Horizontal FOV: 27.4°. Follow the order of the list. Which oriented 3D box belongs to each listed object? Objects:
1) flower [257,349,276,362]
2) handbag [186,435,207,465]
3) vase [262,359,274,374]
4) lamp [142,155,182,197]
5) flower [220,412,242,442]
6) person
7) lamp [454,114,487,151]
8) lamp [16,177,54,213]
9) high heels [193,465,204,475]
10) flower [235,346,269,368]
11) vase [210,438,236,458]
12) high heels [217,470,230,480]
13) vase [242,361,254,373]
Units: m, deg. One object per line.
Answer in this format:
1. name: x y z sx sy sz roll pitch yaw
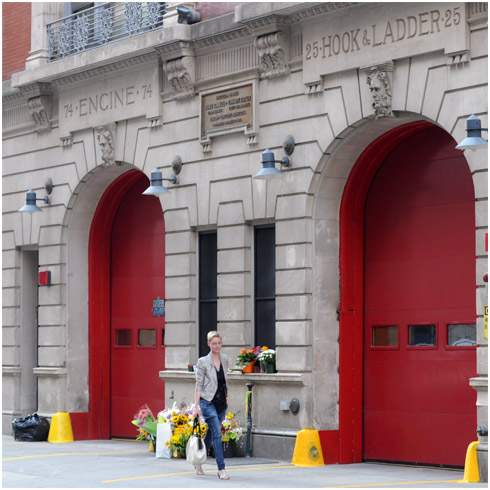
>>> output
1. flower: 0.382 2.017 18.209 0.323 0.239 0.383 -2 -8 -2
2. handbag: -0.727 3.141 15.240 0.313 0.463 0.432 1 -9 -21
3. vase: 0.427 2.233 18.175 0.214 0.213 0.330 -3 -8 1
4. lamp: -1.659 -1.353 19.917 0.855 1.091 0.605 6 -6 -44
5. flower: -0.250 3.304 18.031 0.348 0.565 0.406 3 -11 -8
6. person: -0.517 2.438 15.076 0.497 2.204 0.546 -2 -7 1
7. lamp: 3.229 -1.562 14.255 0.440 0.571 0.472 1 -2 22
8. lamp: -4.761 -1.104 23.103 0.619 1.050 0.806 -5 -9 45
9. high heels: -0.726 3.528 15.606 0.081 0.136 0.292 2 -11 -16
10. flower: 0.096 2.045 18.453 0.412 0.352 0.398 1 -3 -7
11. vase: -0.340 3.655 17.854 0.320 0.298 0.353 1 -5 -3
12. high heels: -0.327 3.460 14.986 0.078 0.129 0.269 3 -15 -26
13. vase: 0.057 2.268 18.474 0.174 0.223 0.207 1 -11 -1
